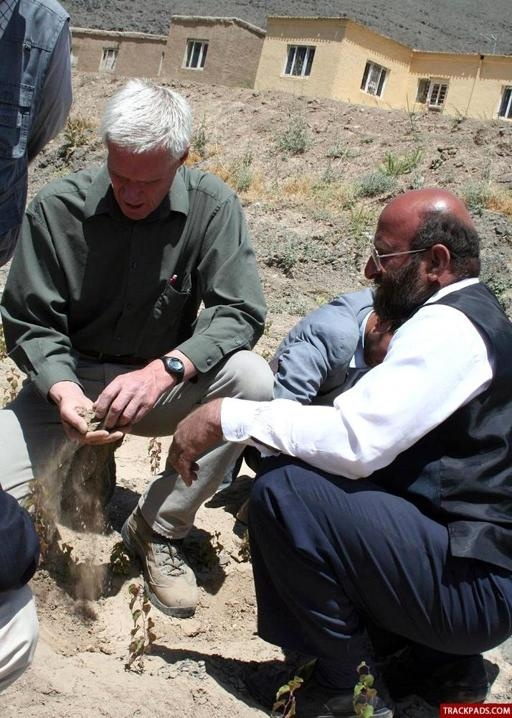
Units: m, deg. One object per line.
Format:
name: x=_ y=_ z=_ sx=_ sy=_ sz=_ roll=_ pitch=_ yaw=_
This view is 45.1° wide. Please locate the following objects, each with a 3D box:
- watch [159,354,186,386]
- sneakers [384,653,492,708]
watch: x=-0.277 y=0.039 z=2.188 sx=0.067 sy=0.099 sz=0.097 roll=-18 pitch=-11 yaw=-46
sneakers: x=0.531 y=0.919 z=1.832 sx=0.263 sy=0.097 sz=0.199 roll=0 pitch=-4 yaw=31
